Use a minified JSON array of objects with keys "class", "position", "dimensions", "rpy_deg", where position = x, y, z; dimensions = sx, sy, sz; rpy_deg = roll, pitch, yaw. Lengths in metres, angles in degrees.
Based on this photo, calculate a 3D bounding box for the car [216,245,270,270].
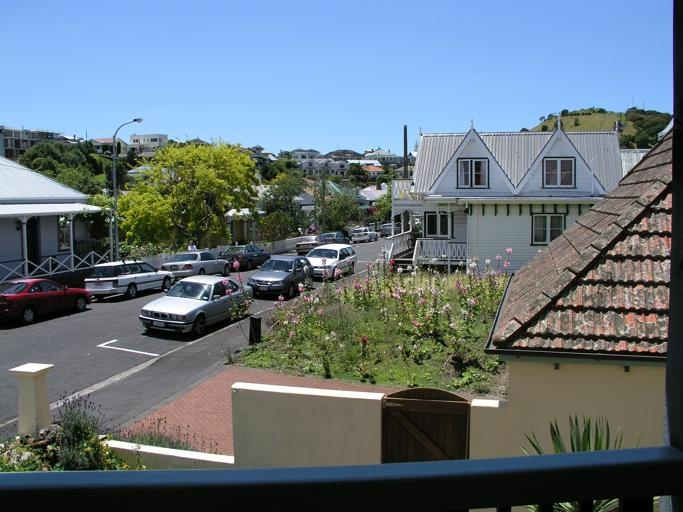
[{"class":"car","position":[-5.473,0.050,37.833],"dimensions":[1.363,1.004,3.232],"rpy_deg":[-1,0,16]}]

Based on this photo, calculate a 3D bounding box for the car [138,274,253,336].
[{"class":"car","position":[-4.247,1.356,20.089],"dimensions":[1.594,1.060,3.334],"rpy_deg":[3,6,17]}]

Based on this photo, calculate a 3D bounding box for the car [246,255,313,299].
[{"class":"car","position":[-2.343,0.845,26.422],"dimensions":[1.664,1.399,2.791],"rpy_deg":[-1,10,22]}]
